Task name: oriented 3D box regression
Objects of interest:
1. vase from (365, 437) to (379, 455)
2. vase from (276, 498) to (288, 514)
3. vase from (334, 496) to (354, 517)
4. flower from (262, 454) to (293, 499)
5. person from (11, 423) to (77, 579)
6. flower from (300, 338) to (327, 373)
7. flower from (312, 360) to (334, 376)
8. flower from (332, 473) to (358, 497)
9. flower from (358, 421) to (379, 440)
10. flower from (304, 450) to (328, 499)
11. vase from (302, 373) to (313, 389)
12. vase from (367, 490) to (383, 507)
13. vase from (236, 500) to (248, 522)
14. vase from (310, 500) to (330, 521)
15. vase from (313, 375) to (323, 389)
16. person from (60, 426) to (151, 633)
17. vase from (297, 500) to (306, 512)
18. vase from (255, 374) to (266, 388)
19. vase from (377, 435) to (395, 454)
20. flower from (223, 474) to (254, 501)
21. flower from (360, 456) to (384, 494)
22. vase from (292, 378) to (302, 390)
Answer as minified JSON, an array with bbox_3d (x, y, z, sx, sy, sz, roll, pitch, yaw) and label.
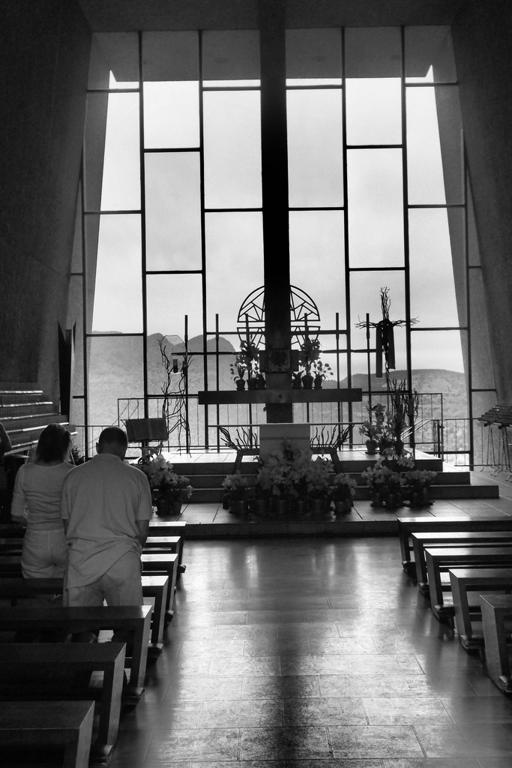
[{"bbox_3d":[1.752,0.970,11.067,0.160,0.336,0.230,-1,3,-1],"label":"vase"},{"bbox_3d":[0.272,1.380,7.983,0.125,0.173,0.100,6,-6,-37],"label":"vase"},{"bbox_3d":[0.935,1.357,7.922,0.195,0.174,0.595,-2,-4,6],"label":"vase"},{"bbox_3d":[0.205,1.065,8.053,0.357,0.421,0.177,-1,-3,1],"label":"flower"},{"bbox_3d":[-1.114,0.823,3.967,0.275,1.300,0.311,5,19,-2],"label":"person"},{"bbox_3d":[0.795,-0.372,10.537,0.334,0.521,0.327,-1,-3,5],"label":"flower"},{"bbox_3d":[0.948,-0.199,10.592,0.260,0.166,0.292,9,-7,29],"label":"flower"},{"bbox_3d":[0.973,1.167,8.189,0.239,0.262,0.421,-2,-4,5],"label":"flower"},{"bbox_3d":[1.711,0.754,11.058,0.260,0.315,0.695,-1,-4,-3],"label":"flower"},{"bbox_3d":[0.697,1.064,8.123,0.278,0.425,0.430,-2,-4,9],"label":"flower"},{"bbox_3d":[0.719,-0.006,10.276,0.151,0.316,0.151,5,-9,-43],"label":"vase"},{"bbox_3d":[1.365,1.348,8.382,0.119,0.162,0.134,0,3,28],"label":"vase"},{"bbox_3d":[-0.150,1.427,8.004,0.098,0.236,0.122,0,1,-2],"label":"vase"},{"bbox_3d":[0.701,1.392,7.868,0.116,0.187,0.179,1,-7,-3],"label":"vase"},{"bbox_3d":[0.867,0.003,10.345,0.138,0.297,0.145,1,-7,-5],"label":"vase"},{"bbox_3d":[-0.696,0.723,3.339,0.338,1.256,0.354,4,24,-11],"label":"person"},{"bbox_3d":[0.497,1.361,7.945,0.080,0.187,0.092,1,-3,-4],"label":"vase"},{"bbox_3d":[0.059,-0.011,10.362,0.138,0.217,0.190,-1,-4,-1],"label":"vase"},{"bbox_3d":[1.889,0.914,10.597,0.204,0.283,0.405,-1,-4,3],"label":"vase"},{"bbox_3d":[-0.205,1.216,8.357,0.280,0.400,0.333,0,-6,-6],"label":"flower"},{"bbox_3d":[1.425,1.162,8.720,0.312,0.373,0.878,-2,-4,9],"label":"flower"},{"bbox_3d":[0.575,0.029,10.313,0.107,0.174,0.130,0,3,9],"label":"vase"}]
